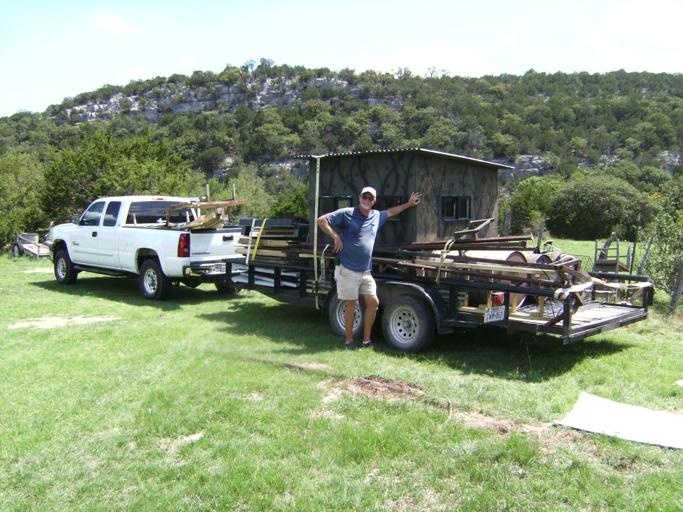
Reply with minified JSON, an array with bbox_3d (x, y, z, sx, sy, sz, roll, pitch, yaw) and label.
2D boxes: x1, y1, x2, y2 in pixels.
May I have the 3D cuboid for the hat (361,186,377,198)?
[{"bbox_3d":[0.381,-0.878,7.827,0.189,0.175,0.315,16,0,-1],"label":"hat"}]

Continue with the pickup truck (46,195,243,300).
[{"bbox_3d":[-4.399,-0.345,12.897,4.613,1.883,2.200,8,7,40],"label":"pickup truck"}]

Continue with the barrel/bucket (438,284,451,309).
[{"bbox_3d":[1.435,0.553,7.870,0.249,0.300,0.201,4,8,27],"label":"barrel/bucket"}]

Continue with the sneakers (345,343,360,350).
[{"bbox_3d":[0.154,1.269,7.971,0.083,0.077,0.148,3,-3,-42],"label":"sneakers"}]

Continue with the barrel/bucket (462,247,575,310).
[{"bbox_3d":[2.530,0.229,8.072,0.721,0.681,1.308,-6,6,-30],"label":"barrel/bucket"}]

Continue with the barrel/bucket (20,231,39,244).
[{"bbox_3d":[-11.944,-0.681,21.519,0.616,0.341,1.024,-5,9,-35],"label":"barrel/bucket"}]

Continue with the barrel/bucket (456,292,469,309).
[{"bbox_3d":[1.716,0.599,7.955,0.113,0.208,0.516,3,8,20],"label":"barrel/bucket"}]
